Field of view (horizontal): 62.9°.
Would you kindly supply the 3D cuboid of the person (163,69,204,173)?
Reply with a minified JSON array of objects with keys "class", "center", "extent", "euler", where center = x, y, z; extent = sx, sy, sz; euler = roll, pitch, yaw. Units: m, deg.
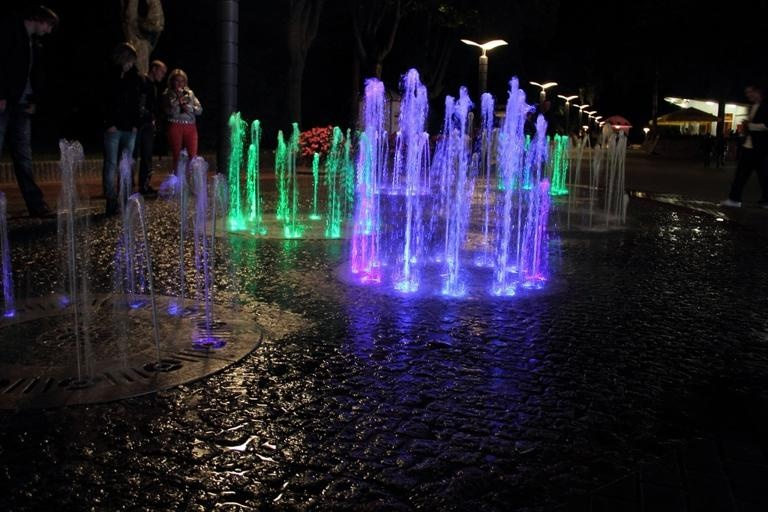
[{"class":"person","center":[-4.115,-2.750,12.878],"extent":[0.684,2.091,1.003],"euler":[-3,16,-18]}]
